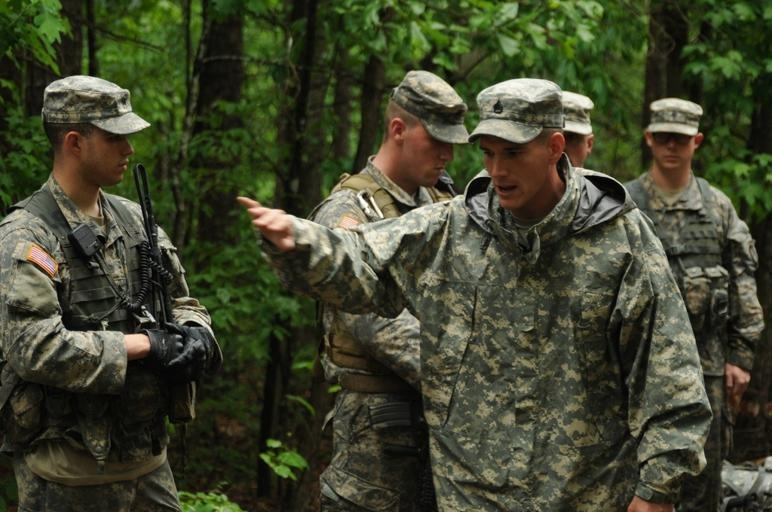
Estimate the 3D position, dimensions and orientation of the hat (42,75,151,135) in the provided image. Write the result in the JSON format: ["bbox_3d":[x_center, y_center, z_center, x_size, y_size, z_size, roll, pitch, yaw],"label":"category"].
[{"bbox_3d":[-2.004,-1.061,8.280,0.625,0.276,0.415,-1,12,-3],"label":"hat"}]
